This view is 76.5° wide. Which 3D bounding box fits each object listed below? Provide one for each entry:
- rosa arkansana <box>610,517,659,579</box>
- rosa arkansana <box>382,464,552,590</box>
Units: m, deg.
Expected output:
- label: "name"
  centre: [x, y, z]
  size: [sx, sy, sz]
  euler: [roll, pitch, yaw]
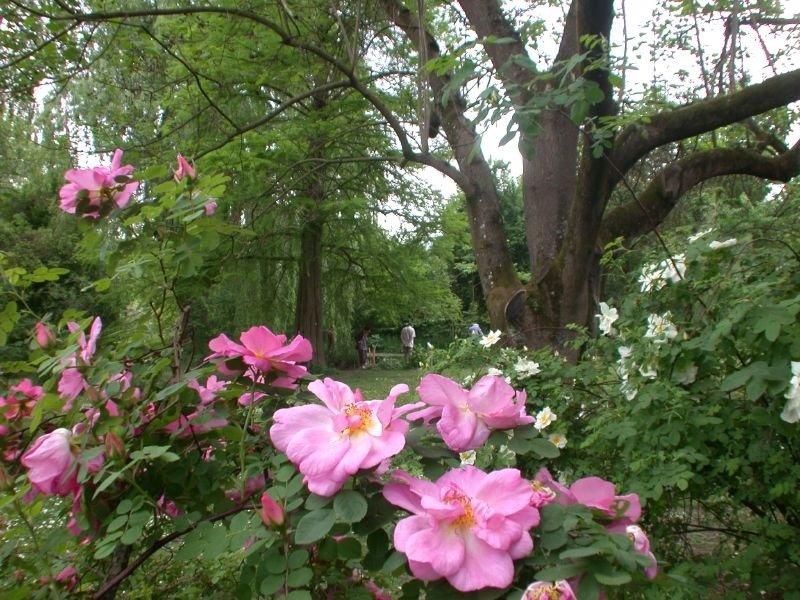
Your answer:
- label: "rosa arkansana"
  centre: [0.506, 0.541, 1.110]
  size: [0.087, 0.127, 0.194]
  euler: [-3, -2, 21]
- label: "rosa arkansana"
  centre: [0.153, 0.486, 1.088]
  size: [0.366, 0.248, 0.164]
  euler: [-3, -1, -5]
